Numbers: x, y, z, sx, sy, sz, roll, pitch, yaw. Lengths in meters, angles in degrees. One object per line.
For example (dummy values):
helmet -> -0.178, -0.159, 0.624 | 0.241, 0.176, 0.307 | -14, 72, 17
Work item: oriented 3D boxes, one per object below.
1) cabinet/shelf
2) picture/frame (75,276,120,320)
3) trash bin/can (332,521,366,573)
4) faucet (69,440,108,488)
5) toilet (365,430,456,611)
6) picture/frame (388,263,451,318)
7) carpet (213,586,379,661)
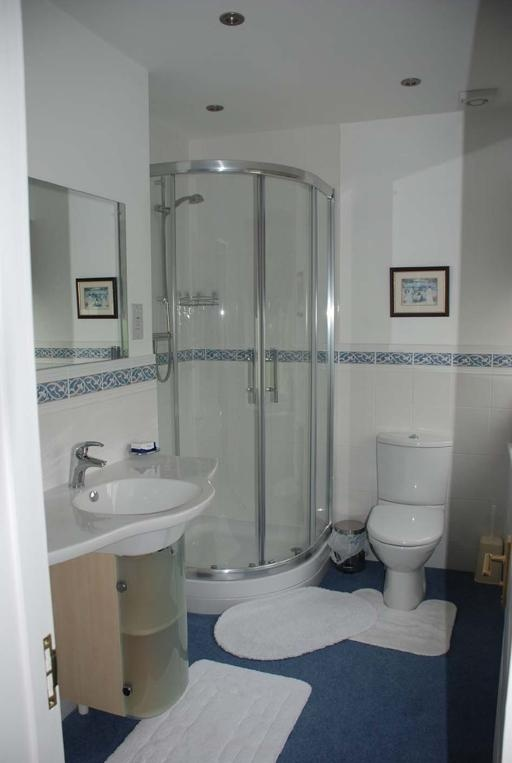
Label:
cabinet/shelf -> -0.419, 0.825, 1.775 | 0.477, 0.640, 0.198 | -3, 6, -31
picture/frame -> -0.602, -0.310, 2.012 | 0.013, 0.164, 0.176 | 1, 4, 23
trash bin/can -> 0.550, 0.977, 3.219 | 0.229, 0.260, 0.196 | -1, 0, 36
faucet -> -0.577, 0.283, 1.817 | 0.106, 0.156, 0.172 | -2, 6, -23
toilet -> 0.813, 0.717, 2.880 | 0.426, 0.797, 0.689 | 3, 6, 21
picture/frame -> 0.946, -0.517, 3.048 | 0.268, 0.287, 0.019 | 2, 8, 21
carpet -> 0.202, 1.117, 2.535 | 0.818, 0.063, 0.429 | -2, 7, -25
